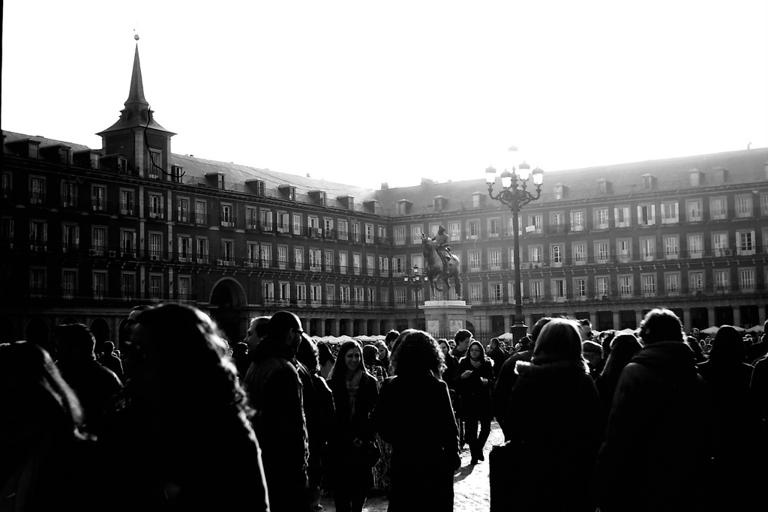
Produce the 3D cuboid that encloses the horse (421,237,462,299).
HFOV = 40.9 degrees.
[{"bbox_3d":[2.208,0.253,39.164,0.923,2.369,2.936,-1,-4,31],"label":"horse"}]
